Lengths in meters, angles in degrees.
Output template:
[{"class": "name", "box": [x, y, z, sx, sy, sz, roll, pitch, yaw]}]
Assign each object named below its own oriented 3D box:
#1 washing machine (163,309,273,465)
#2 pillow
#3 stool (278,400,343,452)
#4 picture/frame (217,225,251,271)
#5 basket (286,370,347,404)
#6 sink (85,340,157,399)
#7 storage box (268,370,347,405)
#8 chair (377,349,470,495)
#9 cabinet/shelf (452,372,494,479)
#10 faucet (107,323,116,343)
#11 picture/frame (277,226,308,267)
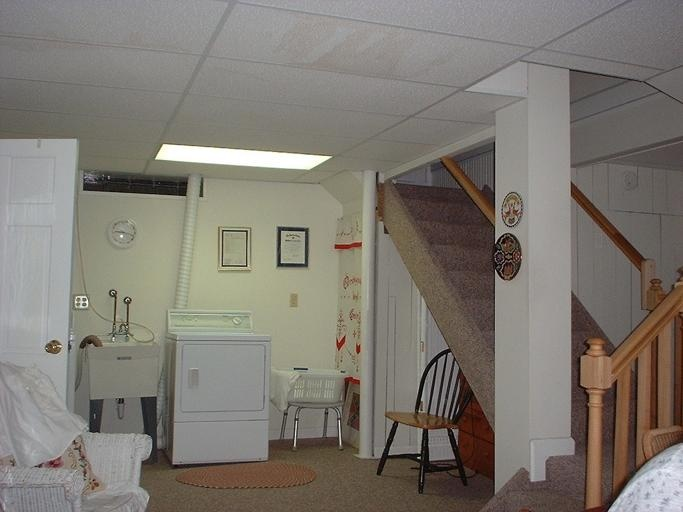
[{"class": "washing machine", "box": [-1.262, 1.249, 5.286, 0.906, 1.405, 0.722, 4, -5, -28]}, {"class": "pillow", "box": [-1.607, 1.213, 3.069, 0.107, 0.377, 0.375, -17, 8, 24]}, {"class": "stool", "box": [-0.312, 1.781, 5.676, 0.638, 0.454, 0.616, 6, -9, -32]}, {"class": "picture/frame", "box": [-1.219, -0.082, 5.878, 0.460, 0.662, 0.067, 1, -1, -18]}, {"class": "basket", "box": [-0.259, 1.349, 5.438, 0.460, 0.212, 0.328, 4, -13, -8]}, {"class": "sink", "box": [-2.061, 1.148, 4.953, 0.634, 0.483, 0.373, 8, -33, -37]}, {"class": "storage box", "box": [-0.381, 1.341, 5.513, 0.455, 0.214, 0.481, 0, -3, -7]}, {"class": "chair", "box": [0.761, 1.409, 4.743, 0.670, 1.153, 0.754, 7, -6, -2]}, {"class": "cabinet/shelf", "box": [1.337, 1.626, 5.039, 0.330, 0.718, 0.710, -8, -5, -10]}, {"class": "faucet", "box": [-2.309, 0.765, 5.356, 0.081, 0.189, 0.152, 3, -4, -26]}, {"class": "picture/frame", "box": [-0.590, -0.102, 6.056, 0.411, 0.537, 0.035, 2, -2, -17]}]
